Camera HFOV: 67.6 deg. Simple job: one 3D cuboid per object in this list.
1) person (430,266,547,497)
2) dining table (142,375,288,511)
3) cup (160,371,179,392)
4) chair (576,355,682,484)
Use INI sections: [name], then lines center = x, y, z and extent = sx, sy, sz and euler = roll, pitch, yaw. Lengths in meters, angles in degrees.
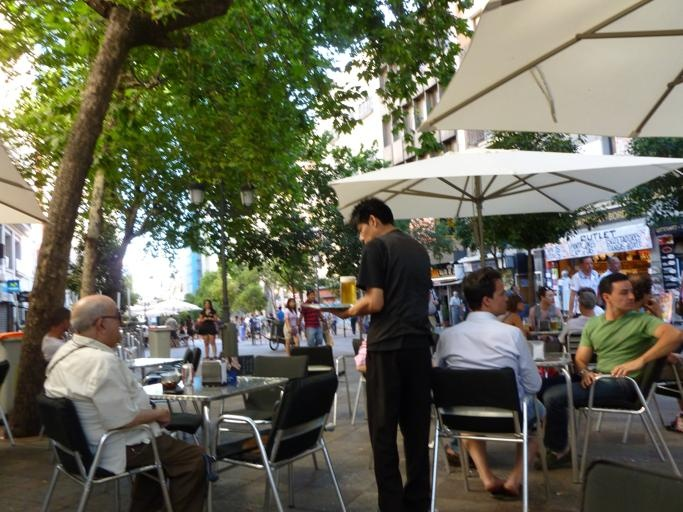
[person]
center = 1.386, 1.206, 4.811
extent = 1.122, 2.104, 1.063
euler = 1, -4, -36
[dining table]
center = -1.174, 1.803, 4.739
extent = 0.940, 0.953, 1.240
euler = -7, -8, 28
[cup]
center = -1.610, 1.174, 4.774
extent = 0.153, 0.123, 0.162
euler = -1, -11, 0
[chair]
center = 3.111, 1.629, 5.593
extent = 0.855, 1.068, 2.619
euler = -5, -8, 28
